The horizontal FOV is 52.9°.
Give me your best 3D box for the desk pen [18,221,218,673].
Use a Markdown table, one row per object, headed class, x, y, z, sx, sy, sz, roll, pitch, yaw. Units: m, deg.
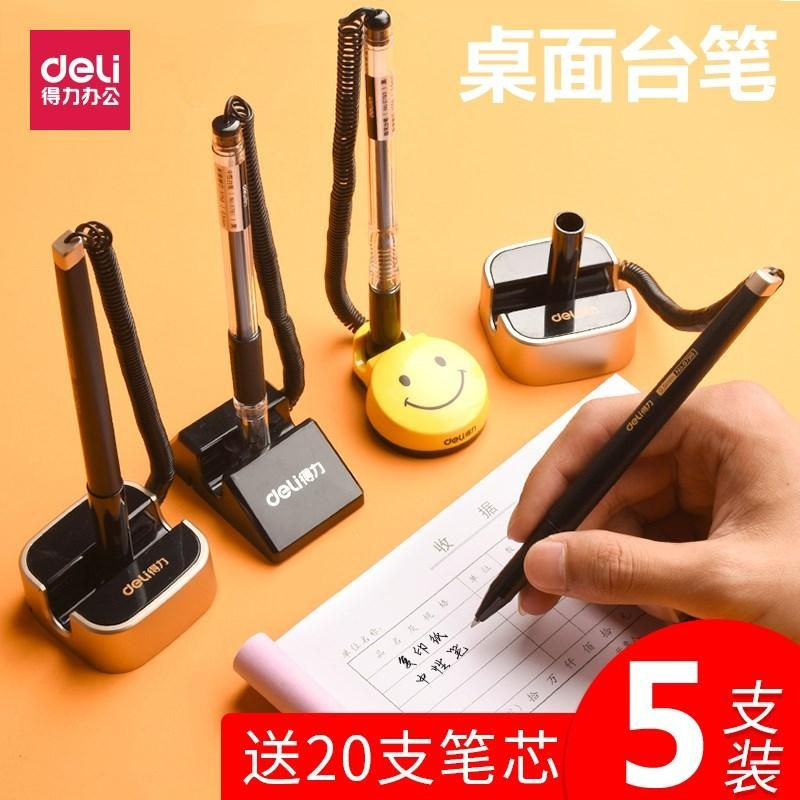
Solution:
| class | x | y | z | sx | sy | sz | roll | pitch | yaw |
| --- | --- | --- | --- | --- | --- | --- | --- | --- | --- |
| desk pen | -0.170 | 0.026 | 0.457 | 0.111 | 0.265 | 0.099 | -27 | 52 | -35 |
